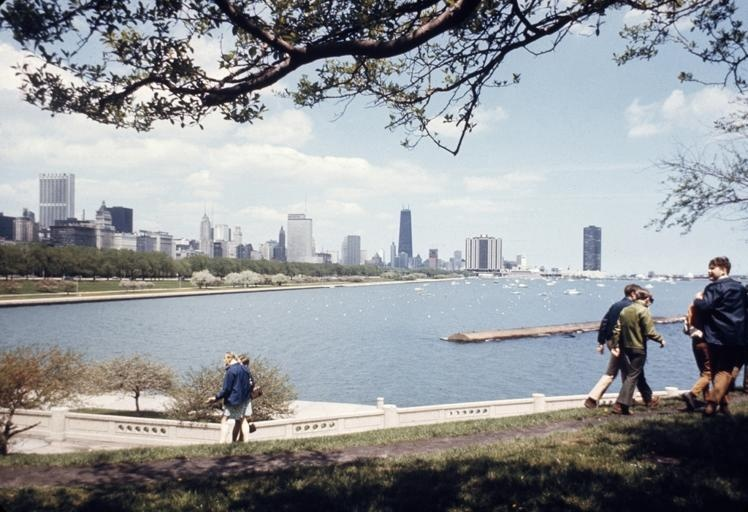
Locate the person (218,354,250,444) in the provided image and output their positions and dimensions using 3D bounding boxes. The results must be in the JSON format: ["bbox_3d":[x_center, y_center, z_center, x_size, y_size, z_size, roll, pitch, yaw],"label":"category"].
[{"bbox_3d":[-6.606,6.782,48.995,1.579,4.287,1.126,2,-3,-8],"label":"person"}]
